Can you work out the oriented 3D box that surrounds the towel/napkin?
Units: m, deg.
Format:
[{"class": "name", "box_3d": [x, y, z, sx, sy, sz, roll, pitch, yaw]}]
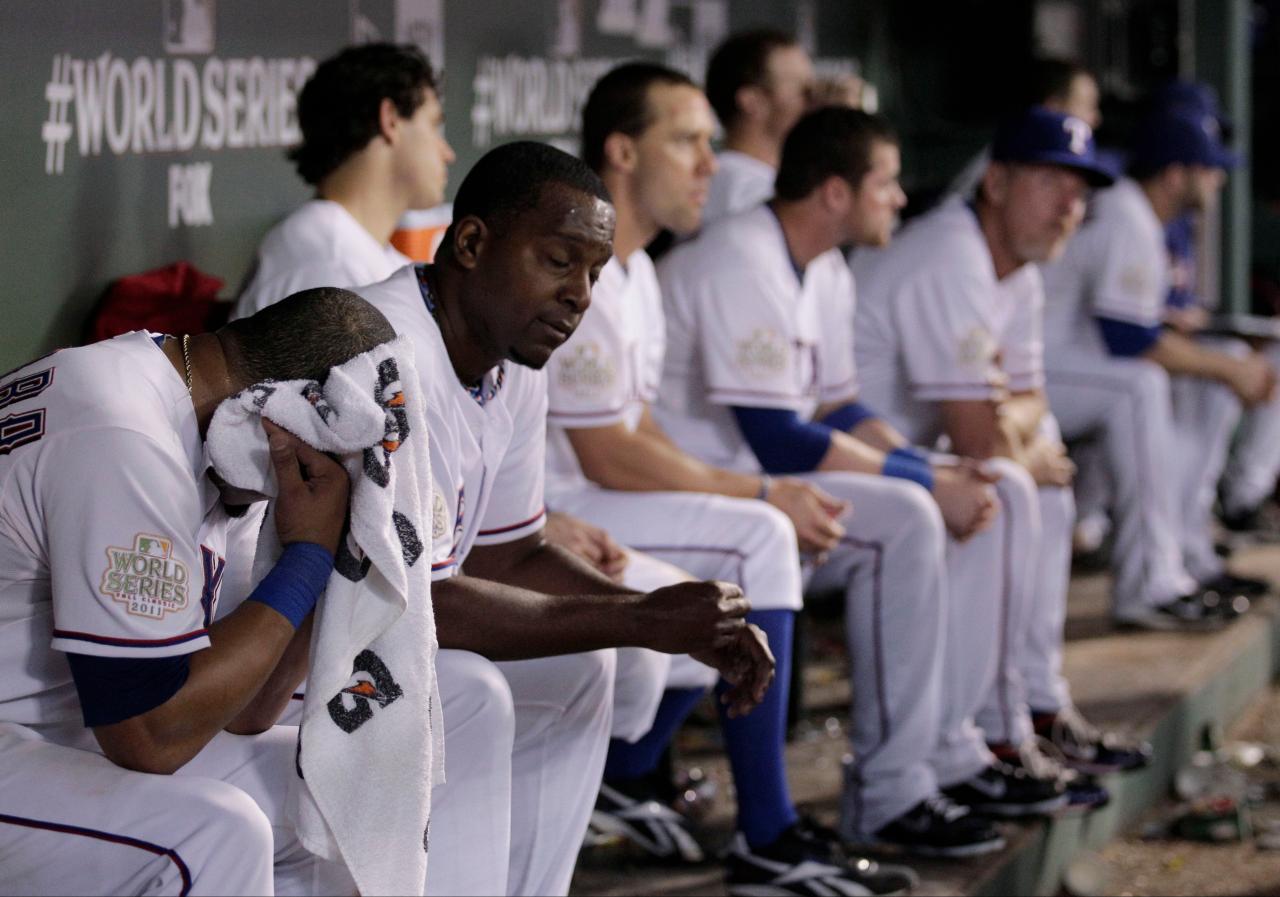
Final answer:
[{"class": "towel/napkin", "box_3d": [-0.406, 0.224, 2.014, 0.283, 0.713, 0.123, -3, 8, -18]}]

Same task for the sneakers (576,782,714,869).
[{"class": "sneakers", "box_3d": [0.006, 0.667, 2.798, 0.217, 0.117, 0.118, -1, 7, -3]}]

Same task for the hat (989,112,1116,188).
[{"class": "hat", "box_3d": [0.768, -0.535, 2.891, 0.178, 0.095, 0.135, 17, 10, 11]}]

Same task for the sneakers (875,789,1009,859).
[{"class": "sneakers", "box_3d": [0.544, 0.680, 2.828, 0.232, 0.104, 0.088, -3, 5, 10]}]
